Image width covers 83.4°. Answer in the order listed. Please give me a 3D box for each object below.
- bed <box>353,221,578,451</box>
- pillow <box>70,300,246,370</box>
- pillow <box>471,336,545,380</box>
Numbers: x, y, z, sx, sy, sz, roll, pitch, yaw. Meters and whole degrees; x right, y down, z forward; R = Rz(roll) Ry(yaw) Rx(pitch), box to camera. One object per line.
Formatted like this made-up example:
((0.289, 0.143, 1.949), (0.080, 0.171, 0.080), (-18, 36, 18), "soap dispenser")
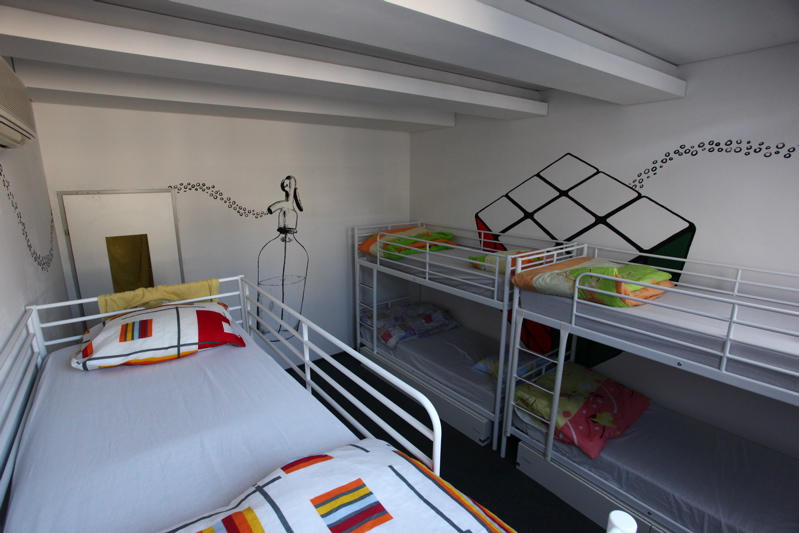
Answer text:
((0.666, 0.676, 4.274), (1.084, 1.398, 2.037), (-8, 18, -32), "bed")
((-1.714, 0.493, 3.162), (0.778, 0.197, 0.535), (-7, 21, -28), "pillow")
((1.095, 0.839, 4.363), (0.463, 0.115, 0.464), (7, 12, 45), "pillow")
